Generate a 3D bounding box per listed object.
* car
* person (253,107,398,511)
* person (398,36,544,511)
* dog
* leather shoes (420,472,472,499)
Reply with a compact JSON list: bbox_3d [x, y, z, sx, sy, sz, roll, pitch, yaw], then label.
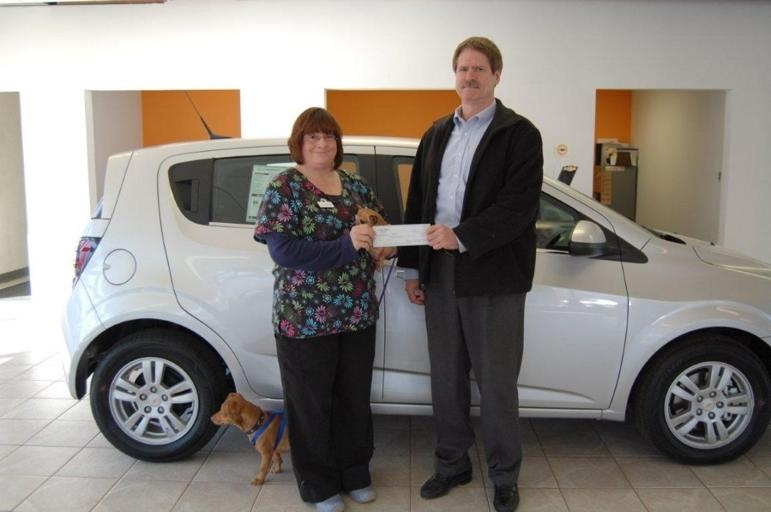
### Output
[{"bbox_3d":[0.140,0.105,4.146,3.758,1.730,2.031,-1,3,-2],"label":"car"},{"bbox_3d":[-0.334,0.316,3.154,0.695,2.197,0.502,-4,15,-13],"label":"person"},{"bbox_3d":[0.472,0.106,3.225,0.727,2.567,0.600,3,15,15],"label":"person"},{"bbox_3d":[-0.733,1.110,3.541,0.243,0.540,0.771,-12,-12,31],"label":"dog"},{"bbox_3d":[0.329,1.321,3.388,0.324,0.157,0.115,-8,32,-11],"label":"leather shoes"}]
